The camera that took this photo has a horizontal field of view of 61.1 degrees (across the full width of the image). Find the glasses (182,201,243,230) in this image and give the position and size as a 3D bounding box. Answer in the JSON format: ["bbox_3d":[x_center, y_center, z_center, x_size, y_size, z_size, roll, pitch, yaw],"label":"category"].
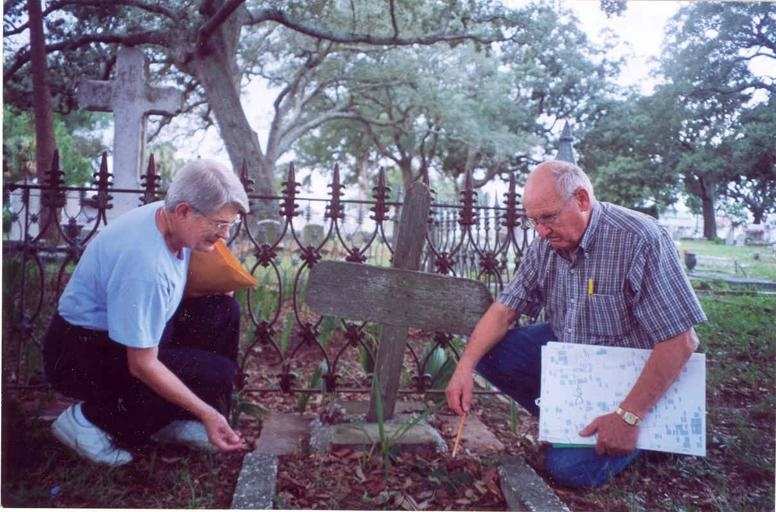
[{"bbox_3d":[-1.228,-0.280,4.637,0.222,0.070,0.219,31,6,8],"label":"glasses"}]
